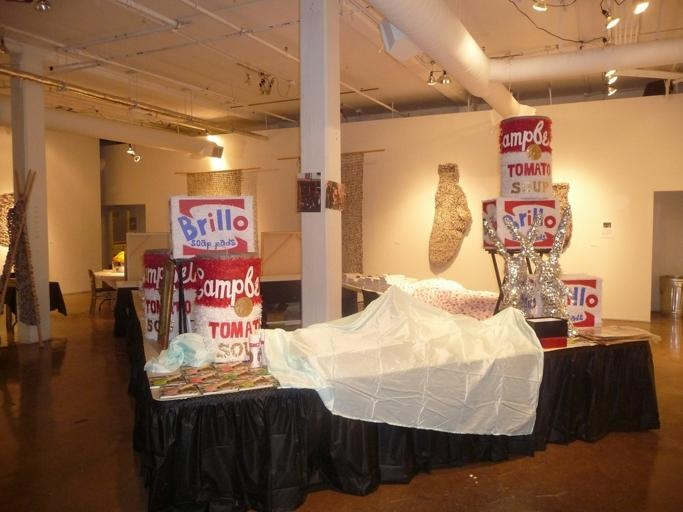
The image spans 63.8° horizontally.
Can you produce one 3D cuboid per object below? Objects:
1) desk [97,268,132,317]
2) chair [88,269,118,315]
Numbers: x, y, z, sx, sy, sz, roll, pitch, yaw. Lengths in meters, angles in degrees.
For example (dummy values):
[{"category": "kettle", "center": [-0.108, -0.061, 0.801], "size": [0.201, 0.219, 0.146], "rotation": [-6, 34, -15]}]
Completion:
[{"category": "desk", "center": [-4.020, 0.649, 9.738], "size": [0.708, 0.456, 0.662], "rotation": [6, 9, -1]}, {"category": "chair", "center": [-4.757, 0.737, 10.971], "size": [0.559, 0.913, 0.502], "rotation": [0, 0, -23]}]
